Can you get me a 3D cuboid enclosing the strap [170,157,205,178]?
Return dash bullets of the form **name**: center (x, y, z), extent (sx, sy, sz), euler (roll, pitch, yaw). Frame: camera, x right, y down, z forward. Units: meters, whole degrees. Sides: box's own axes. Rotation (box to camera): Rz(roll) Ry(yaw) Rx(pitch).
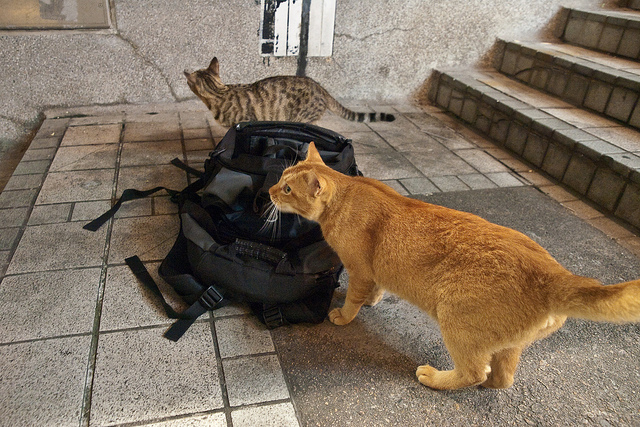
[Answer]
- **strap**: center (-1.141, -0.403, 3.757), extent (0.424, 0.062, 0.126), euler (24, 77, 45)
